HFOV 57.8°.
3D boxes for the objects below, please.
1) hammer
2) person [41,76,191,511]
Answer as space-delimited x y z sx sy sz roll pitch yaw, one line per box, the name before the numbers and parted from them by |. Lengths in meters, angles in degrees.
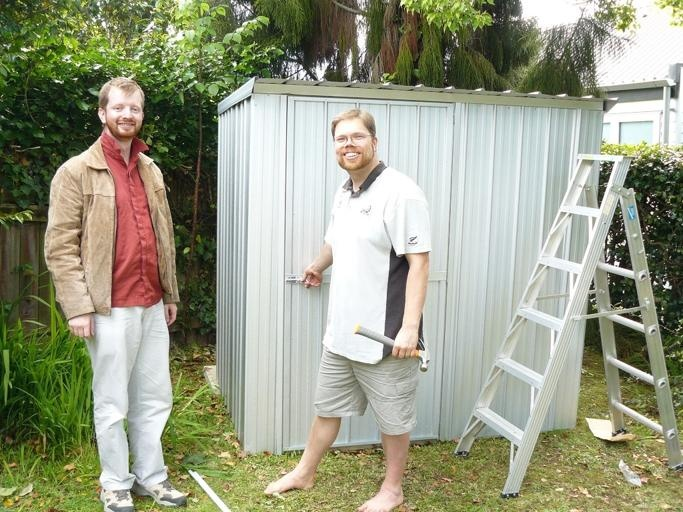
hammer | 0.250 0.483 3.551 0.437 0.309 0.350 -3 9 -26
person | -1.218 0.239 3.804 0.777 2.674 0.895 1 1 9
